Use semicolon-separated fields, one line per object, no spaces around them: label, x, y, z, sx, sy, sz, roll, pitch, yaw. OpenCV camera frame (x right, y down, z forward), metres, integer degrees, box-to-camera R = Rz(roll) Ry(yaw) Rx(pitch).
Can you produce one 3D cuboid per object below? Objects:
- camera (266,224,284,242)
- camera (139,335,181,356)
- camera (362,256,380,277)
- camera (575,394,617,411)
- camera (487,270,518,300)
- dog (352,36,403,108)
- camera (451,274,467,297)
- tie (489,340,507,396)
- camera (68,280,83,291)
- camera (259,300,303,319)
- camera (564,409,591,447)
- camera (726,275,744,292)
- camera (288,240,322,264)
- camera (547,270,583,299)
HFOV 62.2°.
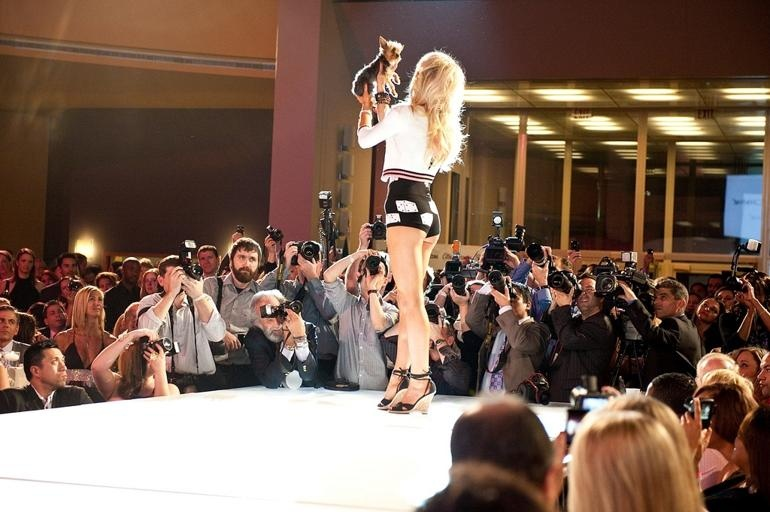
camera;-1.396;-0.299;8.171;0.199;0.212;0.208;-12;31;-25
camera;-2.148;0.867;6.152;0.292;0.123;0.216;-5;-16;29
camera;-0.134;0.079;5.744;0.122;0.173;0.170;3;20;-5
camera;1.022;0.726;3.165;0.161;0.073;0.070;1;6;13
camera;1.083;0.274;5.896;0.152;0.168;0.389;20;-3;24
dog;-0.072;-1.417;4.928;0.386;0.474;0.236;-7;13;8
camera;0.714;0.285;6.314;0.165;0.182;0.267;1;1;3
tie;1.087;1.132;6.164;0.156;0.385;0.264;6;-3;-7
camera;-3.939;0.380;8.138;0.135;0.127;0.214;-3;5;-20
camera;-0.919;0.477;5.649;0.291;0.115;0.187;-8;-3;40
camera;0.924;0.852;3.103;0.100;0.195;0.165;1;6;18
camera;3.937;0.331;7.200;0.132;0.090;0.192;-27;14;13
camera;-0.776;-0.002;6.283;0.275;0.282;0.209;2;-4;-6
camera;1.643;0.242;5.880;0.242;0.161;0.262;43;11;37
